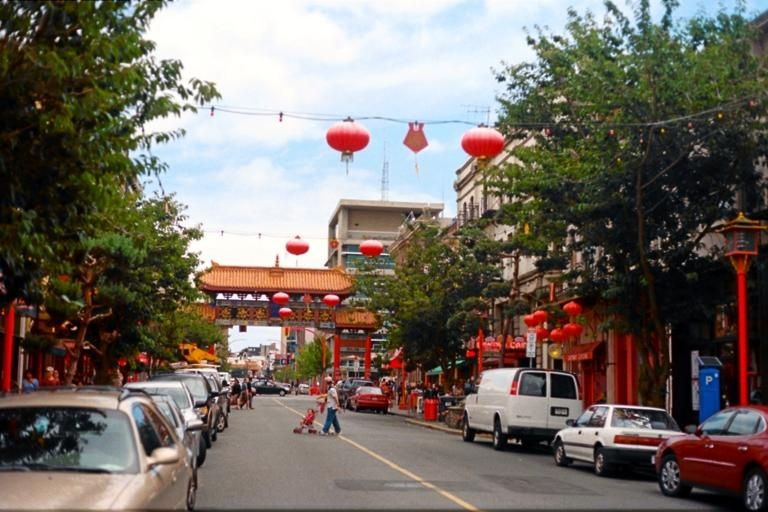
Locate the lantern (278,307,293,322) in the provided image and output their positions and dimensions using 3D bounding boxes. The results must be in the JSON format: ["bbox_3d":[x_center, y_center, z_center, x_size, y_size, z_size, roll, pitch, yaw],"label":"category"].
[{"bbox_3d":[-7.050,4.125,63.063,0.912,0.739,0.949,3,-7,-21],"label":"lantern"}]

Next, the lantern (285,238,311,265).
[{"bbox_3d":[-3.595,-0.444,37.018,0.786,1.068,1.612,5,-13,-11],"label":"lantern"}]

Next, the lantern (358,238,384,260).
[{"bbox_3d":[-0.600,-0.310,37.978,0.806,0.622,0.818,-1,-1,-32],"label":"lantern"}]

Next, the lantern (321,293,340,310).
[{"bbox_3d":[-3.514,2.935,59.760,1.062,1.170,1.232,0,-10,-13],"label":"lantern"}]

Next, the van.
[{"bbox_3d":[4.340,4.912,29.656,2.095,1.913,4.033,4,-8,-15],"label":"van"}]

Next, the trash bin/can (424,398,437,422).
[{"bbox_3d":[2.362,7.878,45.606,0.873,1.320,0.879,1,-8,-7],"label":"trash bin/can"}]

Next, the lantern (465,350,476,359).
[{"bbox_3d":[4.594,5.152,46.810,0.584,0.622,0.881,1,-6,2],"label":"lantern"}]
